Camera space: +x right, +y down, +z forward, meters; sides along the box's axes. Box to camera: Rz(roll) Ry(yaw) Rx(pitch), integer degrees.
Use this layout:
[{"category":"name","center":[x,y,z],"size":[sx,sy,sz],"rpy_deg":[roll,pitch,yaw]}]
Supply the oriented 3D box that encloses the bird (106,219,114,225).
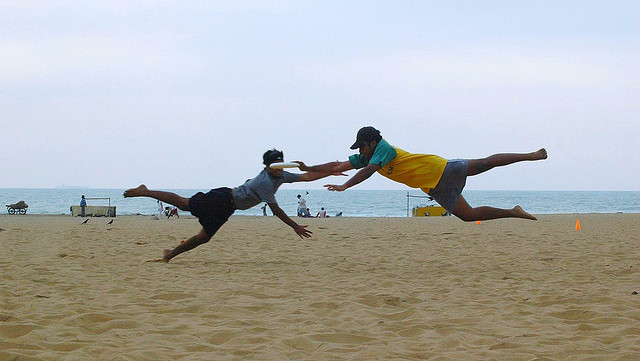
[{"category":"bird","center":[-7.685,1.508,23.291],"size":[0.384,0.134,0.093],"rpy_deg":[-21,-45,25]}]

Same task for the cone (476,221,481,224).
[{"category":"cone","center":[5.371,1.414,21.673],"size":[0.175,0.152,0.168],"rpy_deg":[0,-18,0]}]

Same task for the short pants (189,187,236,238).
[{"category":"short pants","center":[-1.991,0.606,11.835],"size":[0.836,1.004,0.343],"rpy_deg":[-2,16,-8]}]
